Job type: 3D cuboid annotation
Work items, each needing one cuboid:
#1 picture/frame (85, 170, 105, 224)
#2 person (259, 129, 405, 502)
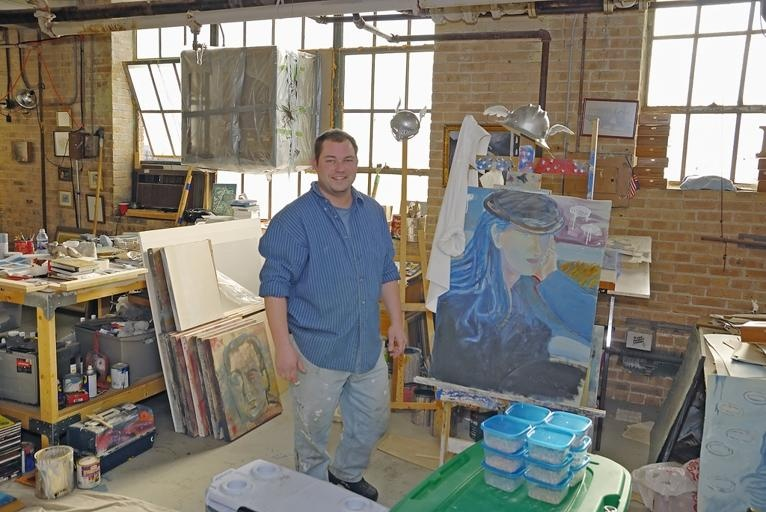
[{"bbox_3d":[-4.081,-0.837,8.223,0.352,0.708,0.049,6,11,28],"label":"picture/frame"},{"bbox_3d":[-0.336,0.468,4.044,1.013,2.649,0.412,-1,10,-12],"label":"person"}]
